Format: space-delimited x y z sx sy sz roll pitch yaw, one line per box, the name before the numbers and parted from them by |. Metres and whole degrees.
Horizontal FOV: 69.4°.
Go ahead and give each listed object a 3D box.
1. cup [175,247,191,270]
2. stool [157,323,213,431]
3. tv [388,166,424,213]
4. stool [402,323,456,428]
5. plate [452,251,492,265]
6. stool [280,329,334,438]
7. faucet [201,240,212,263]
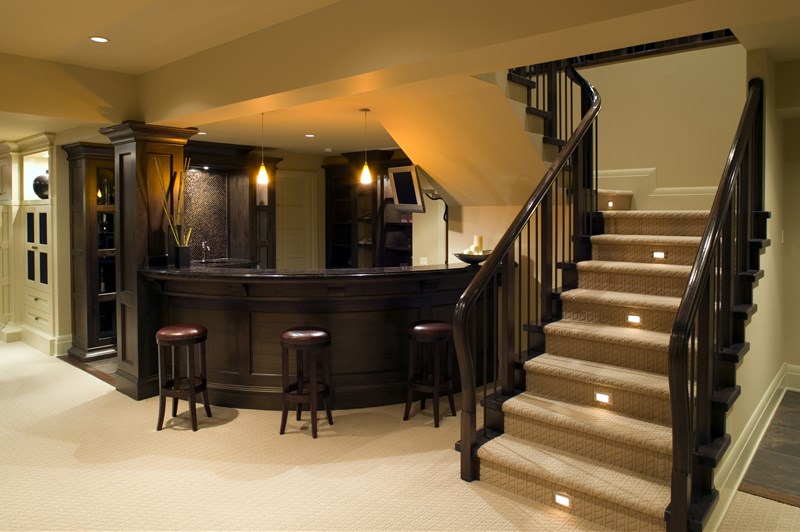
cup | -2.475 -0.097 6.641 0.157 0.237 0.206 -7 14 -25
stool | -2.259 1.074 6.069 0.552 0.986 1.095 -5 14 -18
tv | 0.086 -1.045 7.838 0.059 0.623 0.625 -20 16 -32
stool | 0.318 1.054 6.032 0.532 1.016 0.883 0 13 5
plate | 0.830 -0.076 6.656 0.338 0.174 0.382 3 14 16
stool | -0.940 1.097 5.797 0.530 0.965 0.815 -2 13 -7
faucet | -3.062 -0.219 9.216 0.147 0.312 0.487 -5 14 -17
